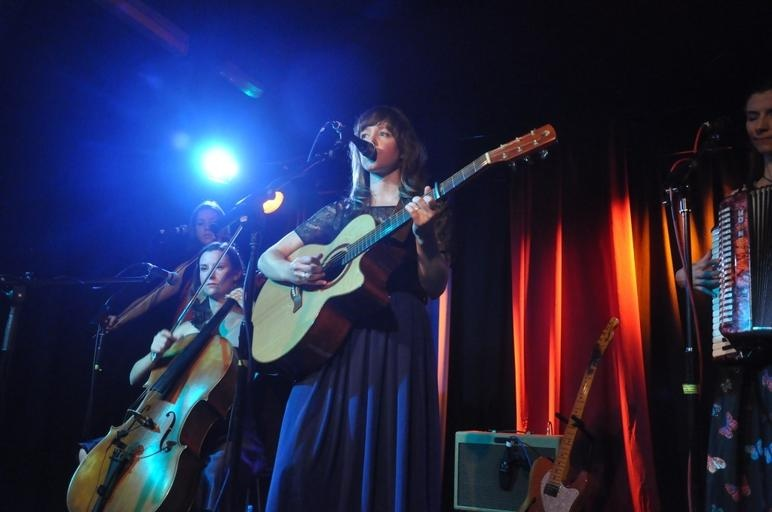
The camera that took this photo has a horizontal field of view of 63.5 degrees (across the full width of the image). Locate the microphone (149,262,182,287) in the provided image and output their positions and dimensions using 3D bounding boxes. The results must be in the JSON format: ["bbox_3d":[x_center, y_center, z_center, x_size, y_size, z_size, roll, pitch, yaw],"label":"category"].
[{"bbox_3d":[-2.006,0.158,5.612,0.280,0.149,0.105,25,-48,18],"label":"microphone"}]

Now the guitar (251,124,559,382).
[{"bbox_3d":[0.061,0.315,4.531,2.854,1.126,0.452,-39,-39,12],"label":"guitar"}]

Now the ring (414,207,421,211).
[{"bbox_3d":[0.200,-0.307,3.993,0.029,0.025,0.008,5,-24,3],"label":"ring"}]
